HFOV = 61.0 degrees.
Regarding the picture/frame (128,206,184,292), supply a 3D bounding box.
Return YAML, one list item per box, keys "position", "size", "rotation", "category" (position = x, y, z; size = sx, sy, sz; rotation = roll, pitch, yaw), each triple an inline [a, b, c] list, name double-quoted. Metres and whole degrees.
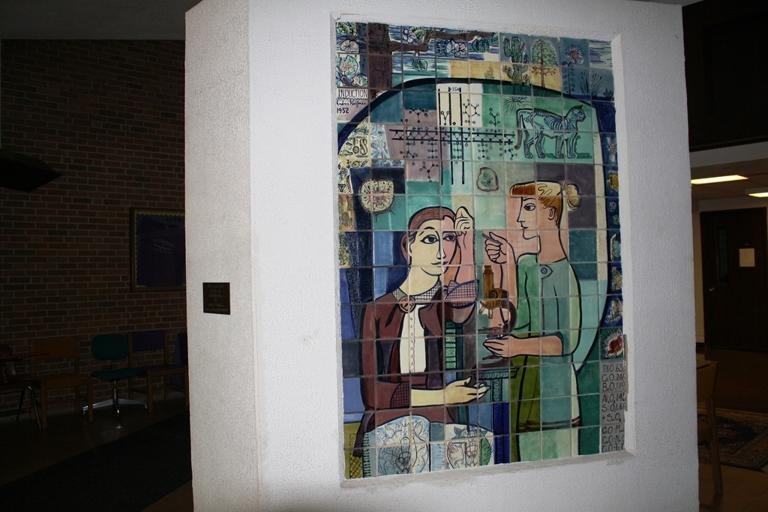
- position: [-2.869, -0.084, 8.085]
  size: [0.959, 1.179, 0.076]
  rotation: [-3, 5, -40]
  category: "picture/frame"
